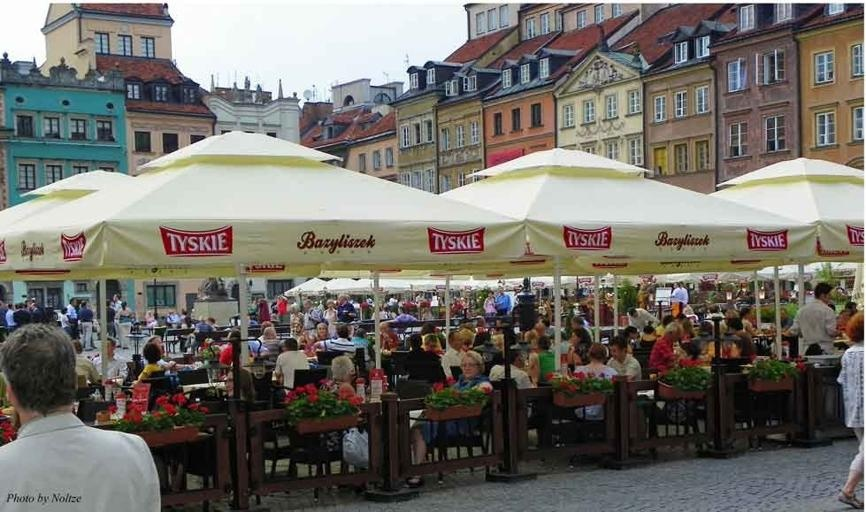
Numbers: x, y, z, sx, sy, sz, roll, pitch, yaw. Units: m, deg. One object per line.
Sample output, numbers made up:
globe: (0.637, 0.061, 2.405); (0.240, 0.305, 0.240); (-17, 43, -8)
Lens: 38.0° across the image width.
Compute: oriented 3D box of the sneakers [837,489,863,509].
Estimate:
sneakers: (6.951, 4.050, 20.911); (0.589, 0.196, 0.185); (16, 10, -17)
